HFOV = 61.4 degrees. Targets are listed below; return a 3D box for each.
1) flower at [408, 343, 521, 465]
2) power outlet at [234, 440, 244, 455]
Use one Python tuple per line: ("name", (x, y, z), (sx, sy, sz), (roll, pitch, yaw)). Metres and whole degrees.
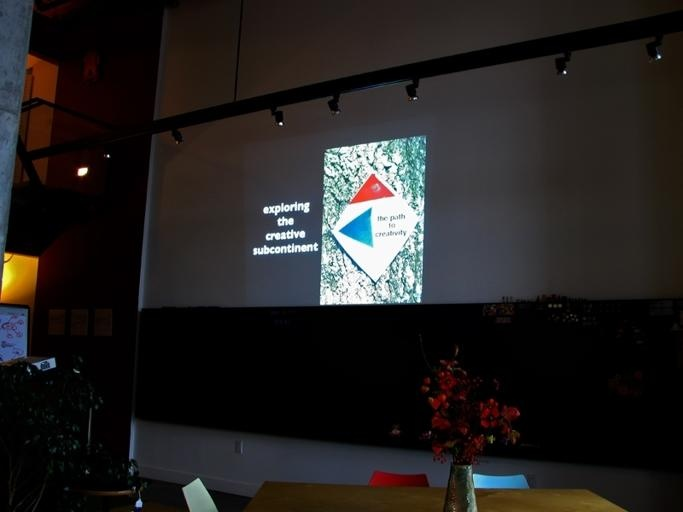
("flower", (0.786, 1.120, 3.743), (0.560, 0.689, 0.618), (26, -15, -4))
("power outlet", (-1.199, 2.230, 6.705), (0.113, 0.163, 0.030), (-3, -7, 34))
